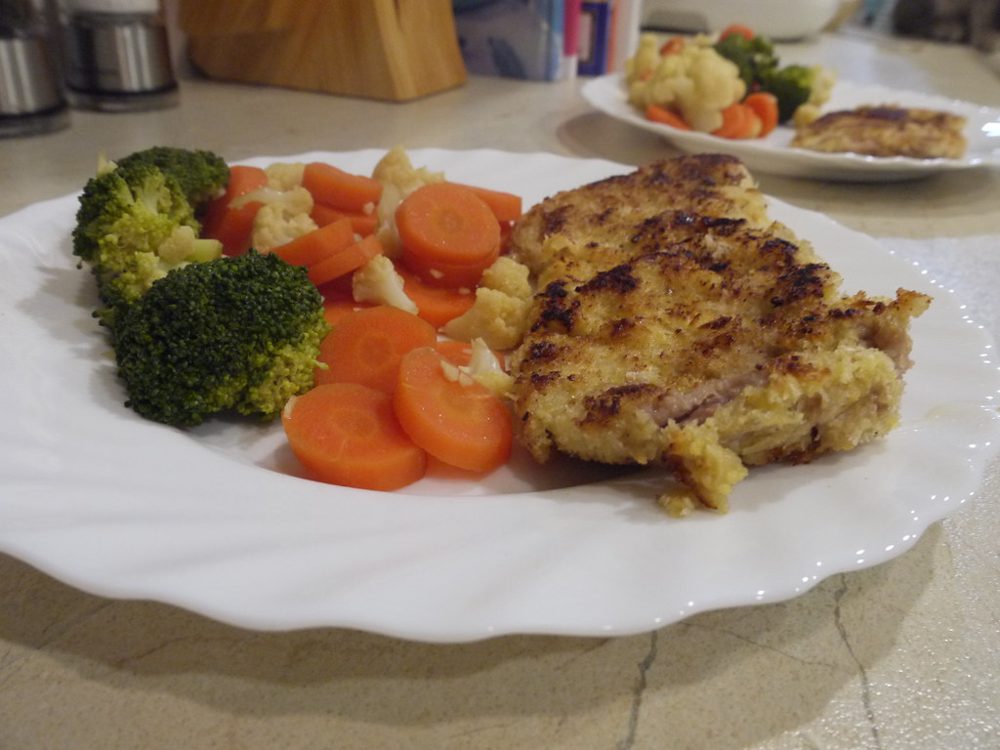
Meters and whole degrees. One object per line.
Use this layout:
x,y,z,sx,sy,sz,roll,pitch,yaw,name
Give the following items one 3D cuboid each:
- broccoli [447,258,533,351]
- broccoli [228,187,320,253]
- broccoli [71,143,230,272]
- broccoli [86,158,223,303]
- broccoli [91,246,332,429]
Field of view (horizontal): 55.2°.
0.029,-0.205,2.843,0.218,0.136,0.272,-6,37,39,broccoli
-0.643,-0.463,2.820,0.257,0.071,0.229,-9,35,-19,broccoli
-0.978,-0.458,2.737,0.324,0.136,0.440,13,37,13,broccoli
-0.909,-0.412,2.655,0.365,0.230,0.456,-44,17,-1,broccoli
-0.680,-0.110,2.444,0.471,0.311,0.474,2,33,7,broccoli
